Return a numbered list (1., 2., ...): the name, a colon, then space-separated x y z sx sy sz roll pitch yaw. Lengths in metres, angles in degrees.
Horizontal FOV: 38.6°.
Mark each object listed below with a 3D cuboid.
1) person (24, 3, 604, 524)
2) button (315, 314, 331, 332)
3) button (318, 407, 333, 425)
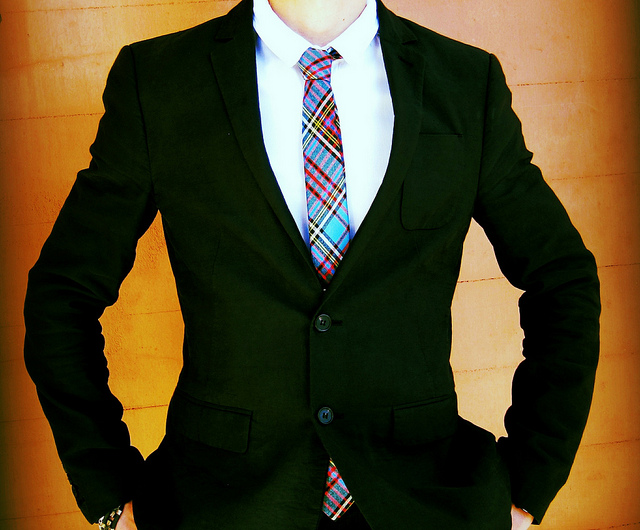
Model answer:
1. person: -0.074 -0.046 2.738 1.579 1.770 0.569 -1 7 -10
2. button: 0.009 0.156 2.486 0.042 0.031 0.029 -1 43 4
3. button: 0.015 0.412 2.492 0.038 0.032 0.032 0 43 5
